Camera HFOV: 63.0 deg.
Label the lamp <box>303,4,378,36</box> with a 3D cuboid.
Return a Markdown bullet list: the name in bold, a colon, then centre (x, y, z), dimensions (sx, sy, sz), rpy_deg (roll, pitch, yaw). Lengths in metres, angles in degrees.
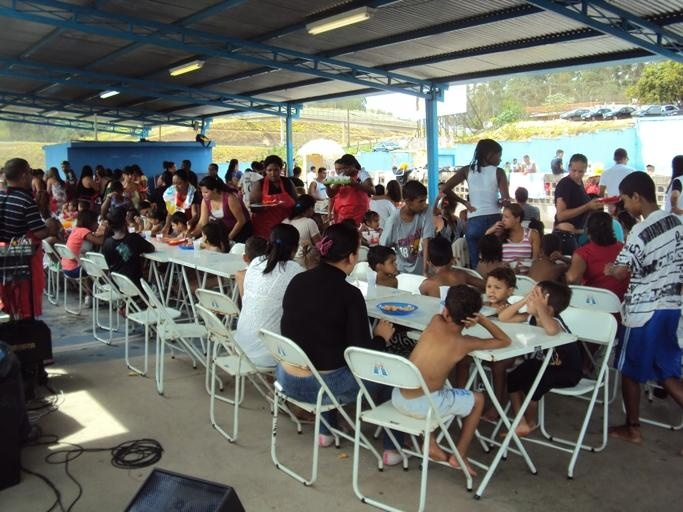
- **lamp**: centre (-0.002, -3.409, 8.078), dimensions (0.211, 0.207, 1.218), rpy_deg (-14, 18, -42)

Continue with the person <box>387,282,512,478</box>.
- **person**: centre (0.680, 0.804, 3.416), dimensions (0.692, 1.273, 0.348), rpy_deg (-8, 15, -24)

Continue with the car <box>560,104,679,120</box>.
- **car**: centre (14.653, -7.568, 29.676), dimensions (1.886, 0.744, 8.072), rpy_deg (-3, 13, -6)

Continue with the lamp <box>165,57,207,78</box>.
- **lamp**: centre (-3.319, -4.039, 12.113), dimensions (0.627, 0.232, 3.219), rpy_deg (-5, 14, -15)

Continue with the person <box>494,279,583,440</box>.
- **person**: centre (1.320, 0.702, 3.757), dimensions (0.587, 0.992, 0.526), rpy_deg (3, 3, 10)

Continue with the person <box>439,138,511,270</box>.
- **person**: centre (1.512, -0.379, 6.379), dimensions (0.651, 1.868, 0.567), rpy_deg (1, 15, 17)

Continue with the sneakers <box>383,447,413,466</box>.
- **sneakers**: centre (0.393, 1.335, 3.751), dimensions (0.230, 0.095, 0.098), rpy_deg (-6, 9, -43)
